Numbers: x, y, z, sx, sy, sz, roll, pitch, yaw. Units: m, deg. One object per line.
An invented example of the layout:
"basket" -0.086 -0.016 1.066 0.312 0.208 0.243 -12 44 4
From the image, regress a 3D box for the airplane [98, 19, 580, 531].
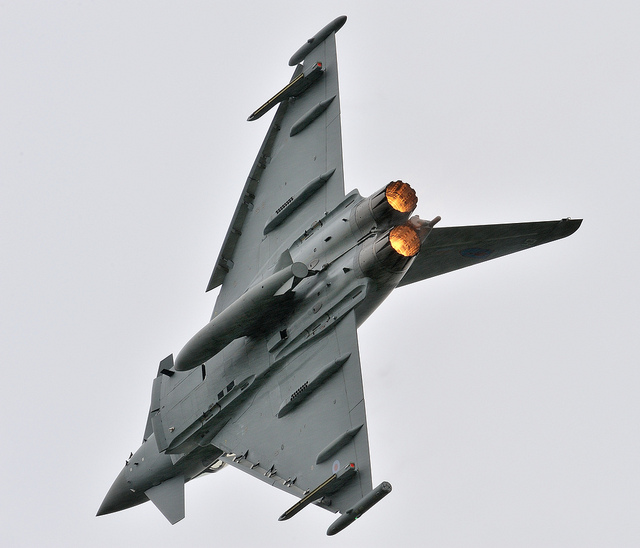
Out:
"airplane" -0.519 0.918 20.334 1.928 7.975 10.924 23 -38 -34
